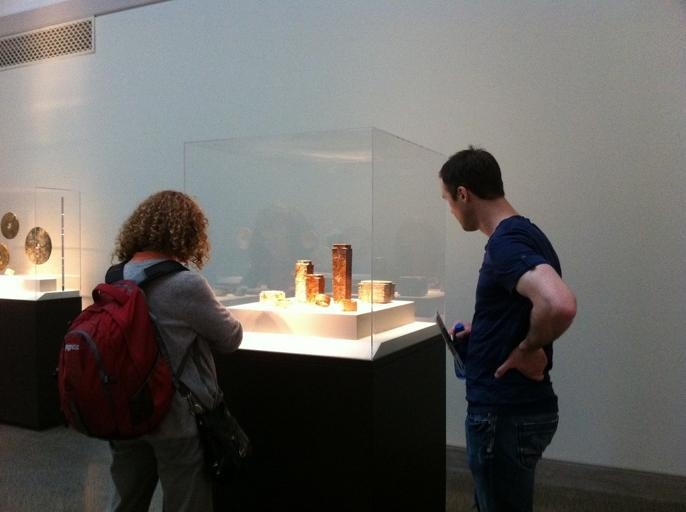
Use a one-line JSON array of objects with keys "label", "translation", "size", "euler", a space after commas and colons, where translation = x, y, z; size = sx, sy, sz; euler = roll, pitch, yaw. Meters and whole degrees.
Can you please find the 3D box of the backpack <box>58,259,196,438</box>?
[{"label": "backpack", "translation": [-1.039, 0.411, 2.547], "size": [0.486, 0.774, 0.433], "euler": [-1, -1, 28]}]
